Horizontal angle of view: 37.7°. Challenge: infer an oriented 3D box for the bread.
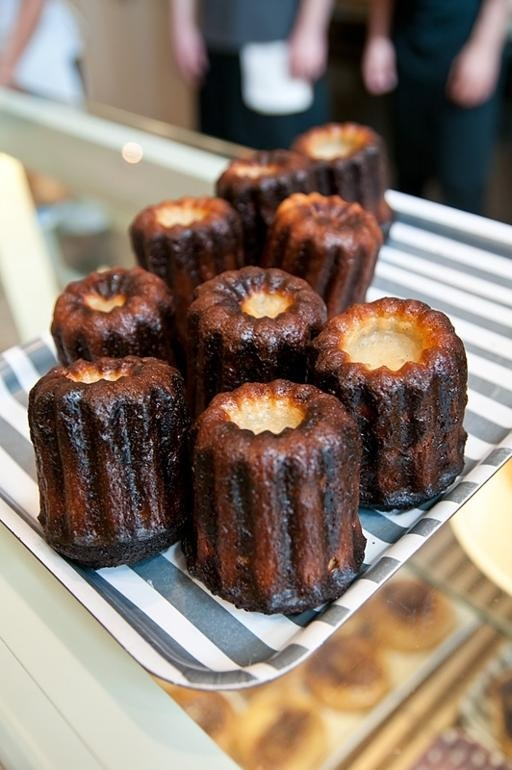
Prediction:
[{"bbox_3d":[-0.001,-0.109,1.180,0.672,0.243,0.750,3,32,4],"label":"bread"}]
